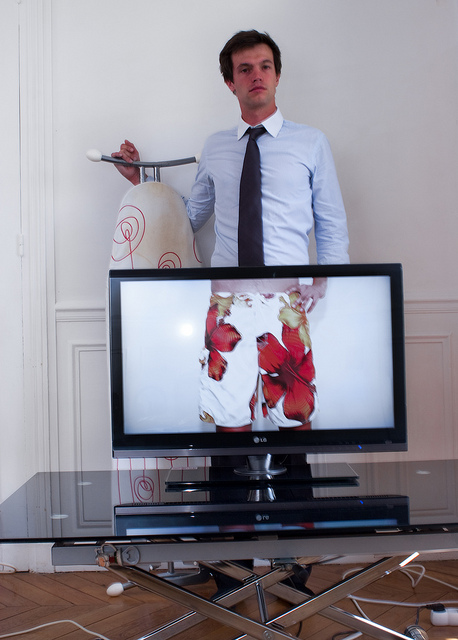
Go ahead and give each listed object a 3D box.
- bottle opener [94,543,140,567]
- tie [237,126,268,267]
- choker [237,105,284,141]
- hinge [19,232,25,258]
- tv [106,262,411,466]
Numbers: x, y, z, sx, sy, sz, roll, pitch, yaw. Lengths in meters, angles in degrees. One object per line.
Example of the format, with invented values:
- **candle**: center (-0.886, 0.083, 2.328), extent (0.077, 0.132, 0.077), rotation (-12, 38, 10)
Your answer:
- **bottle opener**: center (-0.244, 0.488, 1.519), extent (0.056, 0.031, 0.073), rotation (0, -2, 32)
- **tie**: center (0.073, -0.394, 2.262), extent (0.103, 0.437, 0.173), rotation (-2, 6, 5)
- **choker**: center (0.095, -0.631, 2.342), extent (0.154, 0.092, 0.076), rotation (-2, 6, 9)
- **hinge**: center (-0.745, -0.269, 2.592), extent (0.021, 0.083, 0.010), rotation (-6, 7, -28)
- **tv**: center (0.071, 0.104, 1.818), extent (0.607, 0.363, 0.039), rotation (-1, -4, 0)
